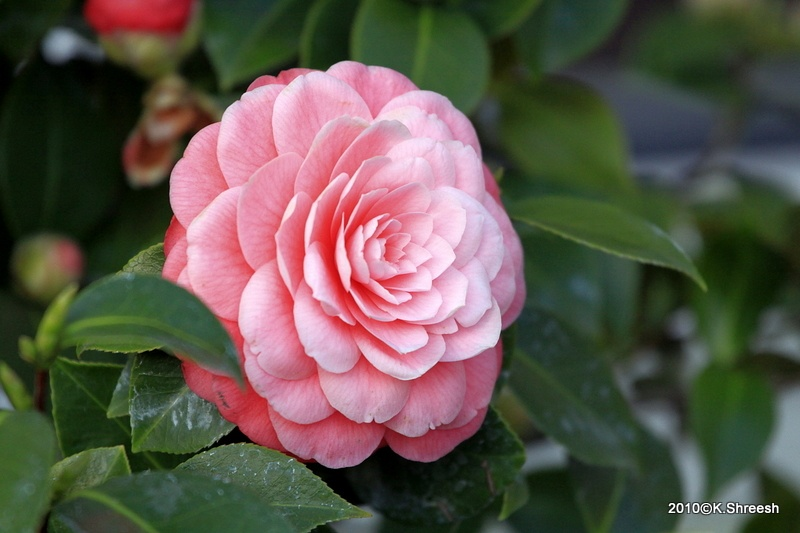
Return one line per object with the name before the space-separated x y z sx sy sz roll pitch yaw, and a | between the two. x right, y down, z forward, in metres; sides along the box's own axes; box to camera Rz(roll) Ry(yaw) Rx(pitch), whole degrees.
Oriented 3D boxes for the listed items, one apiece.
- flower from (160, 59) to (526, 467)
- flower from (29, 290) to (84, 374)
flower | 0.002 0.015 0.754 0.286 0.125 0.293 0 53 -47
flower | -0.296 0.050 0.699 0.025 0.087 0.021 19 8 -36
